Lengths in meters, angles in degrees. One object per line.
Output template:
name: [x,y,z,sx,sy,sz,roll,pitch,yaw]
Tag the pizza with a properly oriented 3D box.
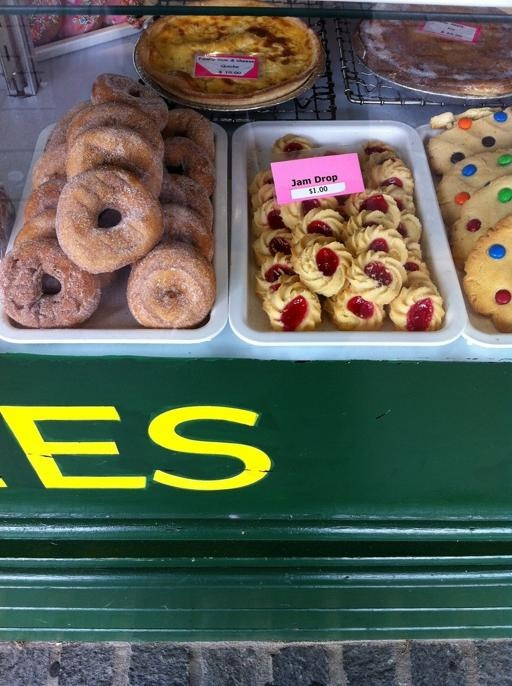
pizza: [-0.072,-0.626,1.505,0.343,0.040,0.273,2,50,-1]
